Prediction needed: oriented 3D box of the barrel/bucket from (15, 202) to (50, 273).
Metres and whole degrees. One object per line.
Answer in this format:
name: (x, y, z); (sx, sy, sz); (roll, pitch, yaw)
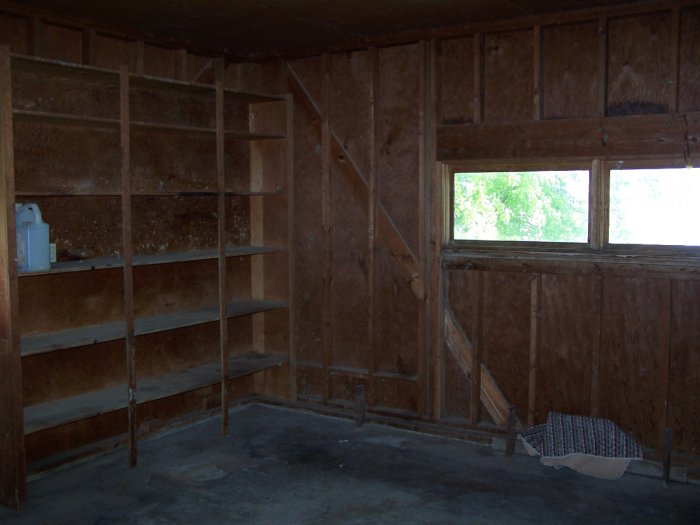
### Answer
barrel/bucket: (-2.262, -0.182, 4.401); (0.214, 0.474, 0.377); (-2, 6, -27)
